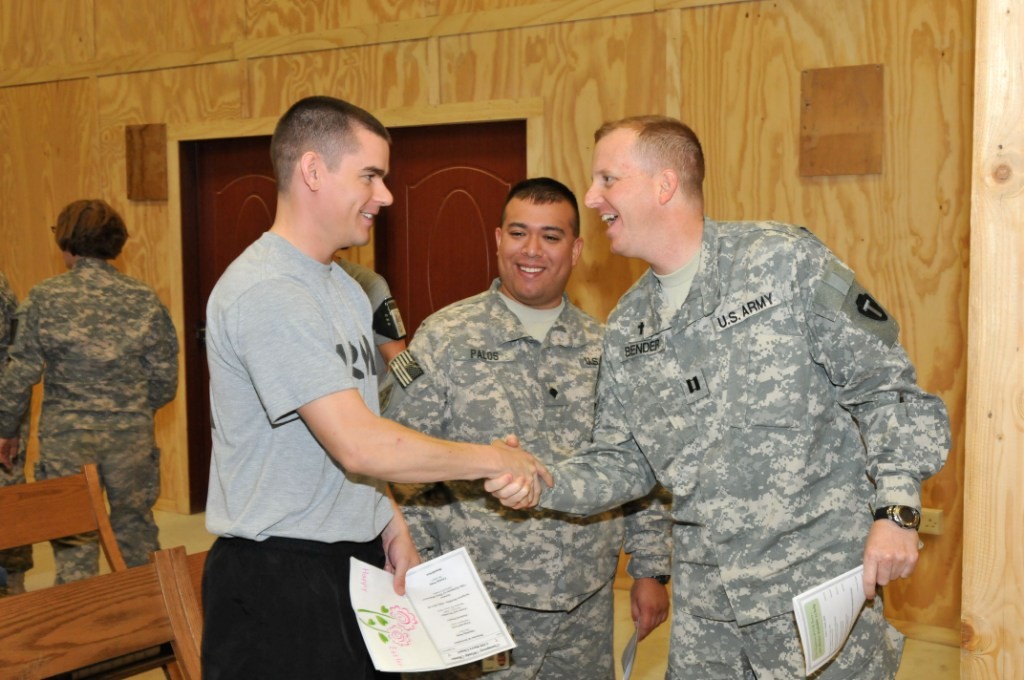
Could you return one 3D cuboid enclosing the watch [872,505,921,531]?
[{"bbox_3d":[1.184,0.537,2.982,0.091,0.049,0.094,11,-6,-2],"label":"watch"}]
